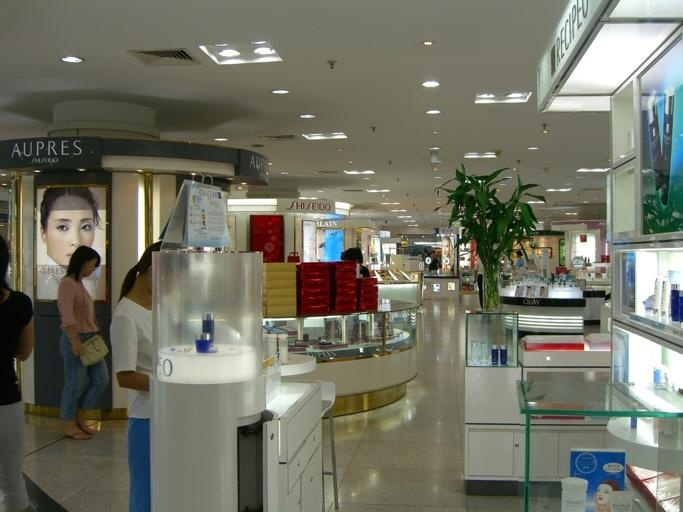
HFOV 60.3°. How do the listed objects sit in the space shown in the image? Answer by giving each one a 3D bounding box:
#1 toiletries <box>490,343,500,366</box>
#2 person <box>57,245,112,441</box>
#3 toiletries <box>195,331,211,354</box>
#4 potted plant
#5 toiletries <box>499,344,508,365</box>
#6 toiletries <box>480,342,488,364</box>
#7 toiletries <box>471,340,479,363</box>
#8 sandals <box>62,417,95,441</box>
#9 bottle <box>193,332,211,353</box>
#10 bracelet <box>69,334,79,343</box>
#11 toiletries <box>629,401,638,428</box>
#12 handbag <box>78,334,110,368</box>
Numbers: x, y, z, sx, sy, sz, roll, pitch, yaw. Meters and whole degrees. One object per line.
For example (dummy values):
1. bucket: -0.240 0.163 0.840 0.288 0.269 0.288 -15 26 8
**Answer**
1. toiletries: 1.357 0.875 5.174 0.063 0.183 0.016 0 2 14
2. person: -2.900 0.953 6.516 0.453 2.060 0.620 -2 -1 15
3. toiletries: -0.780 0.493 3.314 0.093 0.106 0.093 -1 3 -24
4. potted plant: 1.358 -0.148 5.302 0.764 1.277 0.725 0 2 15
5. toiletries: 1.432 0.874 5.168 0.068 0.183 0.017 0 2 -6
6. toiletries: 1.267 0.868 5.191 0.075 0.198 0.024 0 2 15
7. toiletries: 1.182 0.855 5.207 0.075 0.199 0.019 0 2 11
8. sandals: -2.948 1.953 6.605 0.443 0.181 0.150 0 0 13
9. bottle: -0.779 0.479 3.267 0.093 0.106 0.092 -1 2 -21
10. bracelet: -2.815 0.870 6.196 0.067 0.088 0.092 -1 -8 0
11. toiletries: 1.308 0.706 2.607 0.043 0.080 0.194 1 2 26
12. handbag: -2.701 1.016 6.371 0.267 0.294 0.134 -1 2 -23
